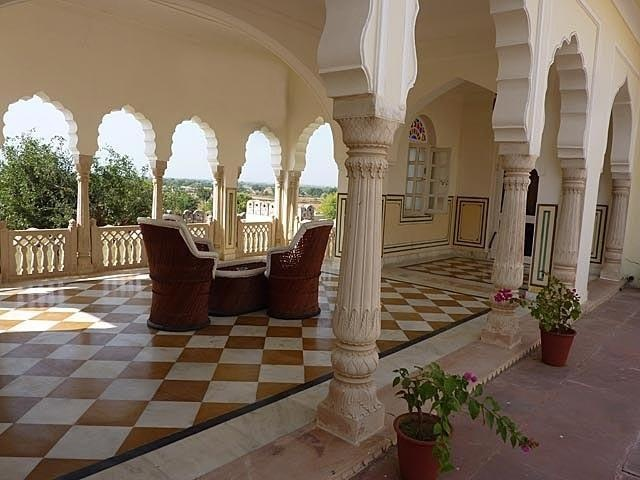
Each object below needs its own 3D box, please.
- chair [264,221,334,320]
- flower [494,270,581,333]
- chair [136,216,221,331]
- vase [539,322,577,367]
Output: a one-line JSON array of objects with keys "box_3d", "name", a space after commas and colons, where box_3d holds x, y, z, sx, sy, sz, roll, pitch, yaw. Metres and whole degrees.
[{"box_3d": [-0.246, 0.317, 5.939, 0.784, 1.253, 0.911, 5, 10, 20], "name": "chair"}, {"box_3d": [2.442, 0.719, 5.000, 0.802, 0.528, 0.745, 7, 3, 25], "name": "flower"}, {"box_3d": [-1.760, 0.351, 5.323, 0.870, 1.276, 0.988, 1, 6, -23], "name": "chair"}, {"box_3d": [2.580, 1.132, 4.883, 0.372, 0.376, 0.400, 0, 1, 5], "name": "vase"}]
